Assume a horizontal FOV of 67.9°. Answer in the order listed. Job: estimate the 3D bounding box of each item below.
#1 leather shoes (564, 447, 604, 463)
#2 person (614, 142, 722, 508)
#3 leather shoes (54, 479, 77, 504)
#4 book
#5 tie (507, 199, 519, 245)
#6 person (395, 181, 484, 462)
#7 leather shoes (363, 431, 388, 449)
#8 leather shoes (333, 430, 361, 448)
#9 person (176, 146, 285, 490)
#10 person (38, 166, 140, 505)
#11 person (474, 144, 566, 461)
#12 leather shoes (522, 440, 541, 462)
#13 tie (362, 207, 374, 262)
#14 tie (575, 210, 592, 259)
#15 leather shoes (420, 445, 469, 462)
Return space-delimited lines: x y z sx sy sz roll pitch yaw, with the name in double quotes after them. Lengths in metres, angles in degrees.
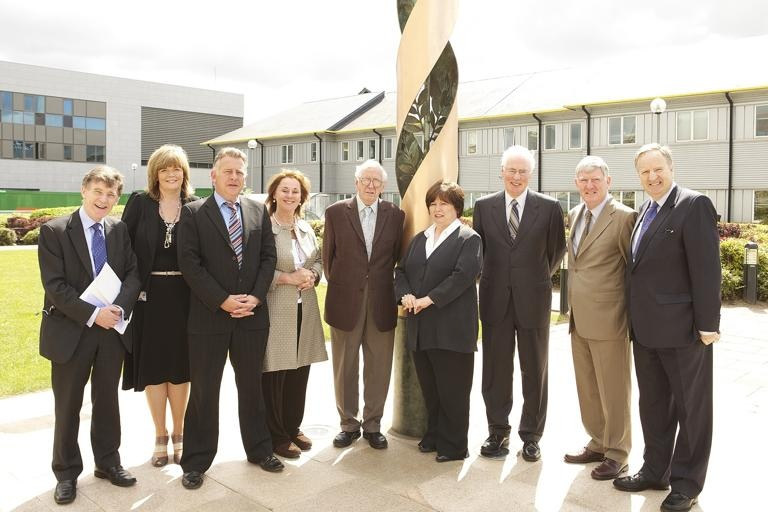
1.859 1.850 5.287 0.335 0.128 0.151 3 -8 -6 "leather shoes"
2.371 0.542 4.719 0.723 2.921 0.606 5 9 31 "person"
-2.637 1.921 4.685 0.166 0.142 0.172 -5 9 -32 "leather shoes"
-2.401 0.343 4.744 0.135 0.483 0.481 12 54 46 "book"
1.238 -0.351 5.428 0.098 0.373 0.097 2 8 12 "tie"
0.519 0.596 5.401 0.778 2.568 0.520 1 8 8 "person"
-0.098 1.797 5.651 0.285 0.115 0.206 2 8 11 "leather shoes"
-0.371 1.806 5.679 0.099 0.122 0.279 -1 -5 33 "leather shoes"
-1.392 0.483 5.073 0.885 2.862 0.716 -2 8 -14 "person"
-2.499 0.599 4.852 0.780 2.718 0.632 -5 9 -33 "person"
1.265 0.417 5.446 0.863 2.902 0.614 1 8 11 "person"
1.390 1.821 5.370 0.181 0.131 0.181 2 8 12 "leather shoes"
-0.156 -0.237 5.679 0.131 0.517 0.134 6 10 40 "tie"
1.852 -0.243 5.233 0.076 0.545 0.076 23 -20 4 "tie"
0.569 1.817 5.429 0.457 0.204 0.160 -4 0 -4 "leather shoes"
